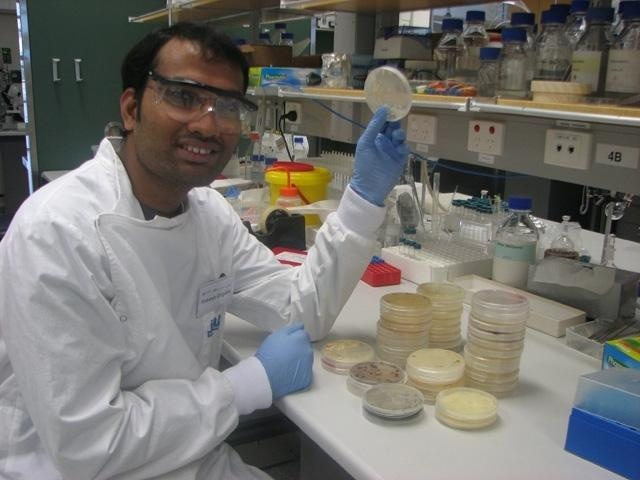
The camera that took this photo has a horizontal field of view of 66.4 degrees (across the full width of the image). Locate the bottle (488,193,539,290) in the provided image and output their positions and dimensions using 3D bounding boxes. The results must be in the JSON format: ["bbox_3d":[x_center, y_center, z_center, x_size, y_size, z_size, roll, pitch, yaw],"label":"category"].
[{"bbox_3d":[0.727,0.018,1.816,0.148,0.384,0.150,-4,23,2],"label":"bottle"}]

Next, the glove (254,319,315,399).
[{"bbox_3d":[-0.069,0.323,1.387,0.155,0.094,0.225,-4,14,5],"label":"glove"}]

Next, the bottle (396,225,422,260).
[{"bbox_3d":[0.370,0.012,2.119,0.105,0.204,0.110,0,5,0],"label":"bottle"}]

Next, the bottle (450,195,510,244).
[{"bbox_3d":[0.708,-0.101,2.193,0.205,0.168,0.214,0,11,0],"label":"bottle"}]

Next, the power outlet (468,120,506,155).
[{"bbox_3d":[0.600,-0.368,1.745,0.014,0.101,0.112,-16,24,-33],"label":"power outlet"}]

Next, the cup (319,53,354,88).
[{"bbox_3d":[0.079,-0.826,2.406,0.165,0.166,0.156,4,20,-1],"label":"cup"}]

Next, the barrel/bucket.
[{"bbox_3d":[-0.127,-0.268,2.684,0.335,0.346,0.354,0,8,0],"label":"barrel/bucket"}]
